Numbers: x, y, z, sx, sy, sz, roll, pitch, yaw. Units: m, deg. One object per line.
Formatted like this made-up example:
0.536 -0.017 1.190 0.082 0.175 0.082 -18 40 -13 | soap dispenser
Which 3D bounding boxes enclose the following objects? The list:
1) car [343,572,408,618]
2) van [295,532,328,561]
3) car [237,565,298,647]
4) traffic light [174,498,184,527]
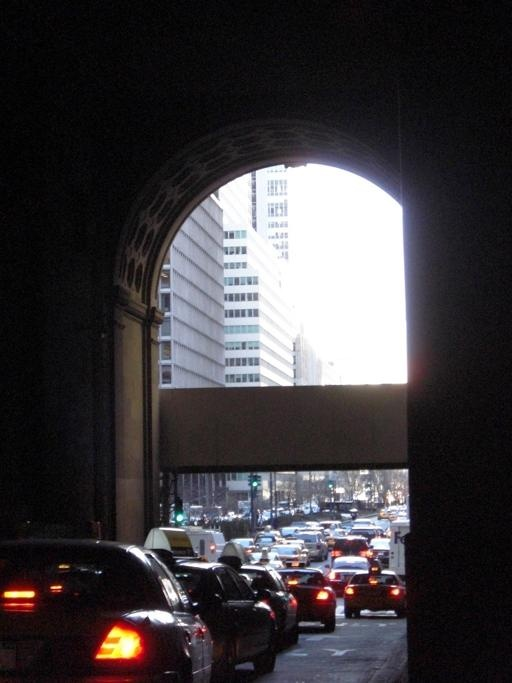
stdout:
3.634 7.798 26.959 1.848 1.362 1.495 -1 -7 -7 | car
4.265 15.047 64.433 1.311 1.874 3.541 -1 -2 10 | van
0.322 5.347 17.476 0.847 1.301 2.465 0 -4 8 | car
-2.696 5.893 30.528 0.305 0.918 1.274 0 -7 -6 | traffic light
